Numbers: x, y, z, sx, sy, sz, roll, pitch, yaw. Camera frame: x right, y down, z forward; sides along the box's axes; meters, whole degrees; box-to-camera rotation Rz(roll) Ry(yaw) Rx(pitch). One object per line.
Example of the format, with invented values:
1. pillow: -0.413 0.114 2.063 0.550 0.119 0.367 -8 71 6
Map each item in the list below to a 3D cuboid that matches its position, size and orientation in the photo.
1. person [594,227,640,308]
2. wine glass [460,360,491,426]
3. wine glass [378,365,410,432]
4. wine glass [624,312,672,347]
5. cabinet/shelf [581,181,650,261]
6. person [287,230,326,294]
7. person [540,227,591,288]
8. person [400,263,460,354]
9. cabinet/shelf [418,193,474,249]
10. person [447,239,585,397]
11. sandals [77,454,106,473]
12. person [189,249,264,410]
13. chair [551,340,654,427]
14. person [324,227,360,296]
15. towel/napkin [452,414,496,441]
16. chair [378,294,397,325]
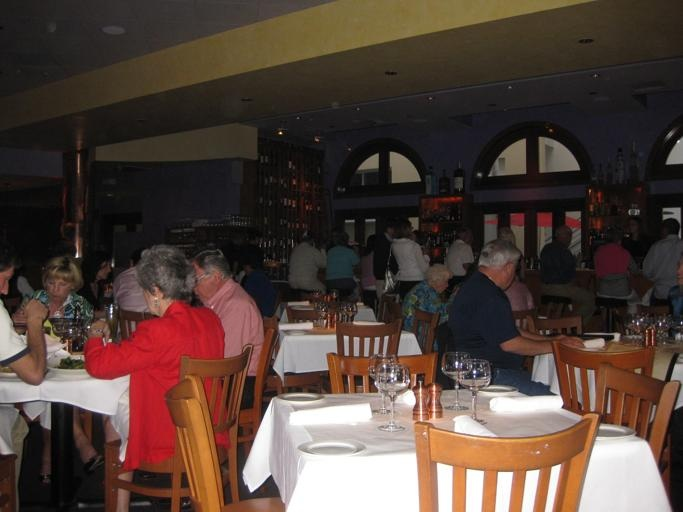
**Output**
1. person: 3.333 0.118 7.460 0.525 0.973 0.399 1 0 -44
2. wine glass: 0.608 0.608 2.823 0.136 0.298 0.144 0 6 18
3. wine glass: 0.233 0.633 2.784 0.153 0.314 0.171 3 5 22
4. wine glass: 2.110 0.503 4.220 0.217 0.185 0.234 1 -8 -3
5. cabinet/shelf: 4.097 -0.451 9.295 0.780 1.316 0.340 1 8 28
6. person: -0.491 0.113 8.913 0.577 0.923 0.563 3 11 29
7. person: 2.696 0.002 7.641 0.410 0.832 0.429 5 23 30
8. person: 0.798 0.494 5.488 0.443 0.881 0.368 -10 26 -16
9. cabinet/shelf: 1.890 -0.626 11.347 0.886 1.011 0.316 1 8 30
10. person: 1.132 0.611 4.053 0.766 1.455 0.576 -1 9 -5
11. sandals: -1.643 1.381 4.102 0.101 0.071 0.187 -26 9 18
12. person: -0.815 0.550 4.303 0.562 1.214 0.508 -2 19 -13
13. chair: 1.295 0.645 3.072 0.351 0.562 0.325 -11 12 -37
14. person: 0.022 0.130 8.603 0.457 0.871 0.469 1 0 -1
15. towel/napkin: 0.486 0.638 2.315 0.110 0.043 0.123 4 6 -9
16. chair: 0.444 0.514 6.182 0.206 0.410 0.271 0 -6 17
